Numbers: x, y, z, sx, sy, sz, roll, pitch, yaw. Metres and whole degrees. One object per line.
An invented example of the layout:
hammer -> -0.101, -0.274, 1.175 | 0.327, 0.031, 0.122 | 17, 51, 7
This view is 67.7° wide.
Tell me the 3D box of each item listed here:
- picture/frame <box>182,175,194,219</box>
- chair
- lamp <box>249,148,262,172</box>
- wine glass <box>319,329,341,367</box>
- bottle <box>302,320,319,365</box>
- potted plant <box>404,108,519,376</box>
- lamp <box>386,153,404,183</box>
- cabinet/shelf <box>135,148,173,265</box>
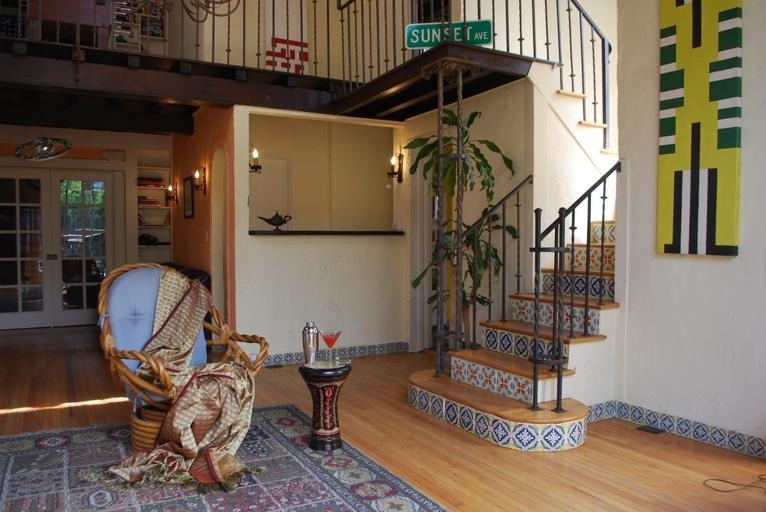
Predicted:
picture/frame -> -2.897, -0.869, 8.432 | 0.032, 0.592, 0.484 | -2, 1, -33
chair -> -1.652, 0.899, 4.595 | 1.264, 1.556, 1.184 | 0, -3, 44
lamp -> -1.750, -1.316, 7.807 | 0.159, 0.359, 0.726 | -2, 10, -12
wine glass -> -0.438, 0.767, 4.710 | 0.213, 0.269, 0.210 | -17, -20, 40
bottle -> -0.594, 0.718, 4.689 | 0.133, 0.362, 0.197 | -1, 10, -6
potted plant -> 0.825, -0.126, 6.374 | 1.098, 3.080, 2.424 | 1, 10, 3
lamp -> 0.150, -1.168, 7.519 | 0.157, 0.398, 0.372 | -3, 10, -19
cabinet/shelf -> -3.948, -0.936, 9.750 | 0.523, 2.456, 0.269 | -1, 0, -31
